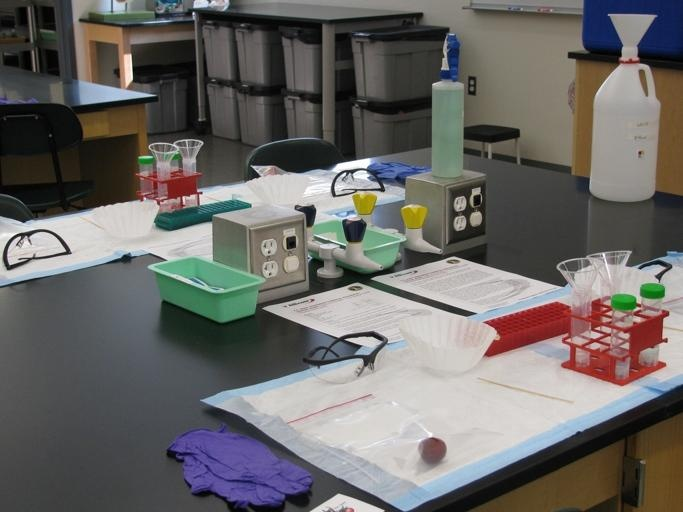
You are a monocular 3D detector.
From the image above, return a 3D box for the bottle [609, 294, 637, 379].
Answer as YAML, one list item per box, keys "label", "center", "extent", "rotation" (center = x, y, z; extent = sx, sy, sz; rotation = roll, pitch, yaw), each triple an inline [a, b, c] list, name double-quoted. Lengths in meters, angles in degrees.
- label: "bottle"
  center: [0.456, 0.131, 0.932]
  extent: [0.040, 0.134, 0.047]
  rotation: [7, 19, 27]

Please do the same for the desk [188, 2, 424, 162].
- label: "desk"
  center: [-0.257, -1.622, 5.224]
  extent: [2.040, 1.303, 1.120]
  rotation: [20, 30, 39]

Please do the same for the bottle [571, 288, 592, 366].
- label: "bottle"
  center: [0.416, 0.118, 0.992]
  extent: [0.038, 0.126, 0.083]
  rotation: [5, 18, 21]

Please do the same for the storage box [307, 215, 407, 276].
- label: "storage box"
  center: [0.031, -0.036, 1.454]
  extent: [0.140, 0.070, 0.213]
  rotation: [-13, 25, -36]

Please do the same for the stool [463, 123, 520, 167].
- label: "stool"
  center: [1.264, -0.870, 4.555]
  extent: [0.297, 0.233, 0.292]
  rotation: [-13, 19, -22]

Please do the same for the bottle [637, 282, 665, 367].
- label: "bottle"
  center: [0.523, 0.111, 0.968]
  extent: [0.042, 0.139, 0.089]
  rotation: [8, 19, 29]

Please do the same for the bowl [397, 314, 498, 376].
- label: "bowl"
  center: [0.167, 0.148, 1.004]
  extent: [0.161, 0.061, 0.171]
  rotation: [6, 8, -1]
